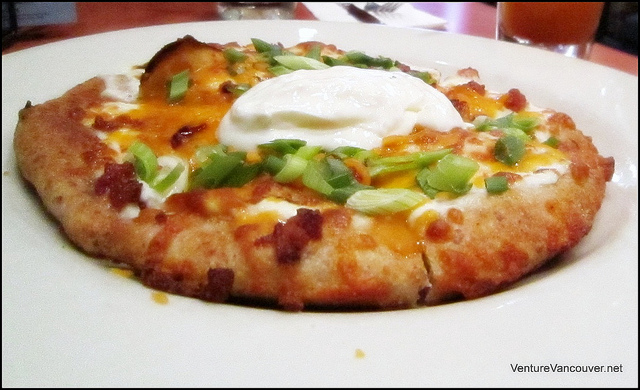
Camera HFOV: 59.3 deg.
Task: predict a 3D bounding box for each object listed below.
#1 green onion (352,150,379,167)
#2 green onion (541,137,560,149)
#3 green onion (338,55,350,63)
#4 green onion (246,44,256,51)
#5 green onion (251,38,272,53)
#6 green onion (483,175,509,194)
[{"bbox_3d":[0.294,-0.238,3.574,0.125,0.030,0.110,20,40,7],"label":"green onion"},{"bbox_3d":[1.616,-0.362,3.930,0.095,0.031,0.091,-14,21,-10],"label":"green onion"},{"bbox_3d":[0.208,-1.163,4.833,0.105,0.024,0.094,-3,28,-22],"label":"green onion"},{"bbox_3d":[-0.598,-1.266,4.857,0.116,0.016,0.143,2,28,-5],"label":"green onion"},{"bbox_3d":[-0.510,-1.250,4.717,0.181,0.045,0.103,26,50,7],"label":"green onion"},{"bbox_3d":[1.092,-0.061,3.484,0.147,0.074,0.098,-8,38,-9],"label":"green onion"}]
